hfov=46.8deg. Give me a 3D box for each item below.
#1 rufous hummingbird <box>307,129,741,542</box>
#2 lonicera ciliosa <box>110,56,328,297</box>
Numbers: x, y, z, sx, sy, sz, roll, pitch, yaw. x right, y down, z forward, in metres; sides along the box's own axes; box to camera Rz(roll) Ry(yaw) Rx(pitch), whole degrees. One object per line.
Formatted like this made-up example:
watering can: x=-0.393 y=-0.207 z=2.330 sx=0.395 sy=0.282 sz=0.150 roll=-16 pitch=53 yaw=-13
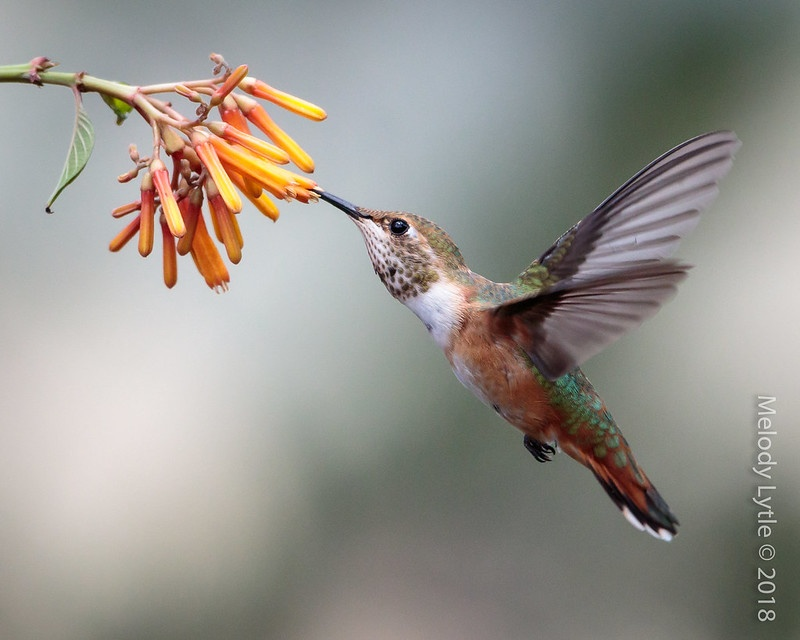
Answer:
rufous hummingbird: x=0.488 y=0.111 z=2.753 sx=1.068 sy=1.195 sz=0.520 roll=-5 pitch=0 yaw=24
lonicera ciliosa: x=-0.461 y=-0.374 z=2.240 sx=0.475 sy=0.378 sz=0.420 roll=20 pitch=37 yaw=32
